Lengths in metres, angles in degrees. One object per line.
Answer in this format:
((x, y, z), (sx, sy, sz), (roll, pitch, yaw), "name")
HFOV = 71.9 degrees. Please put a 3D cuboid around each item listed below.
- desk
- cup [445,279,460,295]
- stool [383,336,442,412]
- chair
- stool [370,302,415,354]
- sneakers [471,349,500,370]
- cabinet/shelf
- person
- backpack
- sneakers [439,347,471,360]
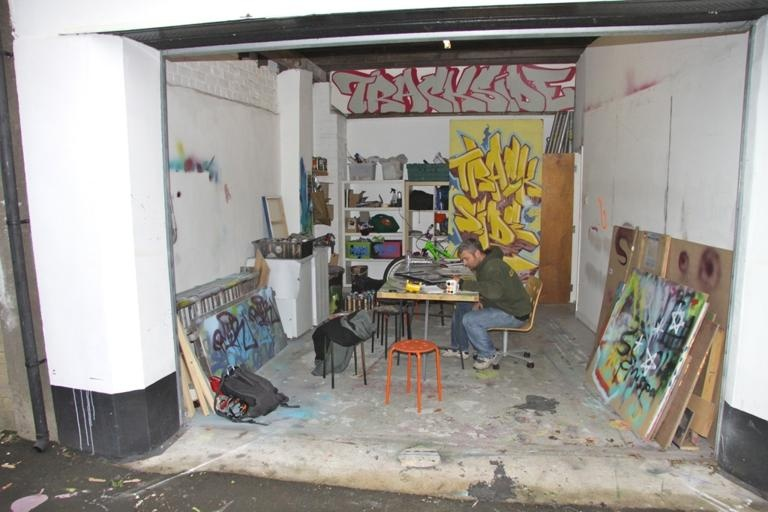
((0.465, 0.823, 6.721), (1.428, 0.663, 1.439), (-6, 17, -45), "desk")
((0.826, 0.383, 6.582), (0.178, 0.171, 0.138), (4, -4, -22), "cup")
((0.340, 1.385, 6.088), (0.693, 0.631, 0.701), (1, 3, -4), "stool")
((1.621, 0.863, 7.143), (0.854, 1.241, 0.874), (2, 5, 8), "chair")
((0.139, 0.954, 7.602), (0.654, 0.759, 0.662), (-3, 9, -29), "stool")
((1.364, 1.389, 6.953), (0.448, 0.204, 0.170), (4, -4, -42), "sneakers")
((0.204, -0.430, 9.785), (2.201, 2.044, 0.594), (1, 2, 4), "cabinet/shelf")
((1.299, 0.624, 6.855), (1.119, 1.692, 0.772), (1, 10, 23), "person")
((-1.491, 1.515, 5.792), (0.608, 0.247, 0.584), (23, 22, 23), "backpack")
((0.961, 1.339, 7.252), (0.405, 0.185, 0.150), (5, 6, 10), "sneakers")
